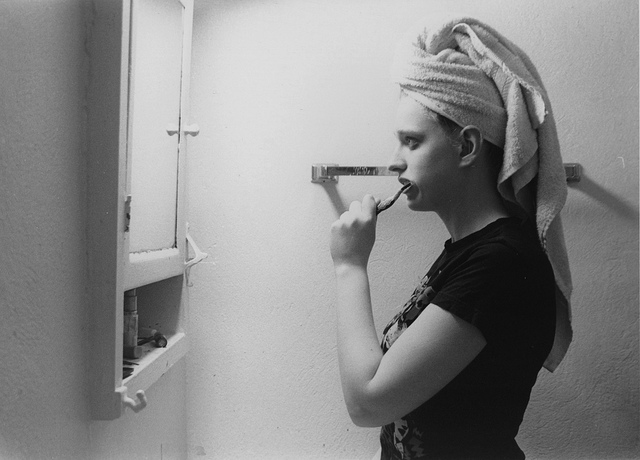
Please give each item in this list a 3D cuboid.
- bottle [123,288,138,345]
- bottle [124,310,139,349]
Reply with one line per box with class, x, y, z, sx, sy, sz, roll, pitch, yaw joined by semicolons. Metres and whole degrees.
bottle;-0.455;0.210;1.574;0.034;0.141;0.033;2;2;0
bottle;-0.456;0.232;1.579;0.033;0.087;0.075;-6;11;-12
